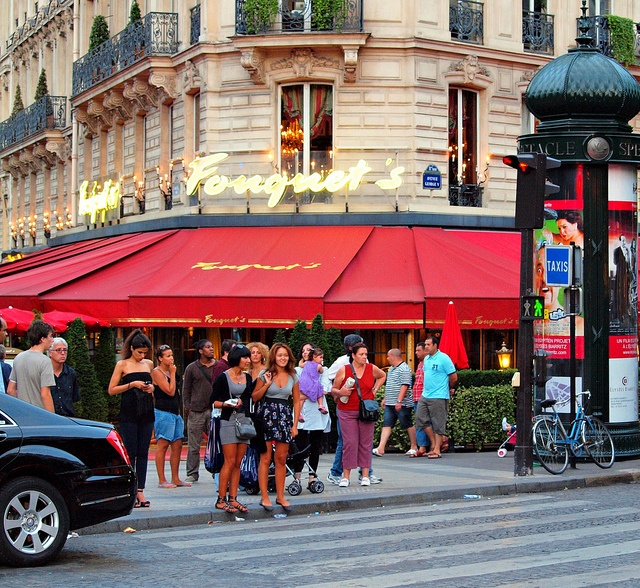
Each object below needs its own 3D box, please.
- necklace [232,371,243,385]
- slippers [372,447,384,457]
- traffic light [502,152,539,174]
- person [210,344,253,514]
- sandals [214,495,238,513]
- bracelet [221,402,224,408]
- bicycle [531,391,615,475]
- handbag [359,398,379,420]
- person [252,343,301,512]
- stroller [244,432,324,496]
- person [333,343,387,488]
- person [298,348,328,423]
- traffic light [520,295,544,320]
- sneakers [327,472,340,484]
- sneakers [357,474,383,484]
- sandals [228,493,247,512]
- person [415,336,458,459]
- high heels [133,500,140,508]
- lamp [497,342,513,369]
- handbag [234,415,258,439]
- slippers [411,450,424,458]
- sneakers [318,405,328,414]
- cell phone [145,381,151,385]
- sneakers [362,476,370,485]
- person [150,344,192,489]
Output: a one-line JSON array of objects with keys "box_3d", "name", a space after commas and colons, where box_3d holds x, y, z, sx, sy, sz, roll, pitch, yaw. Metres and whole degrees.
[{"box_3d": [-1.059, 1.102, 19.587, 0.091, 0.139, 0.031, 8, -23, -11], "name": "necklace"}, {"box_3d": [0.957, 2.631, 25.178, 0.105, 0.122, 0.278, -1, 8, -22], "name": "slippers"}, {"box_3d": [2.974, -1.927, 22.684, 0.475, 0.303, 0.561, -2, -3, 1], "name": "traffic light"}, {"box_3d": [-1.114, 1.755, 19.559, 0.513, 2.152, 0.633, 0, -3, -20], "name": "person"}, {"box_3d": [-1.198, 2.739, 19.669, 0.121, 0.160, 0.334, -8, 5, -40], "name": "sandals"}, {"box_3d": [-1.235, 1.425, 19.385, 0.018, 0.057, 0.037, 6, -4, -11], "name": "bracelet"}, {"box_3d": [3.866, 2.134, 23.289, 1.713, 1.169, 0.706, 1, -21, -36], "name": "bicycle"}, {"box_3d": [0.678, 1.641, 21.457, 0.136, 0.318, 0.280, -3, -3, 45], "name": "handbag"}, {"box_3d": [-0.559, 1.779, 20.110, 0.504, 2.231, 0.874, -2, -3, 11], "name": "person"}, {"box_3d": [-0.509, 2.410, 21.262, 0.531, 0.693, 0.420, 9, -5, -11], "name": "stroller"}, {"box_3d": [0.503, 1.737, 21.796, 0.624, 2.064, 0.834, -1, -3, 1], "name": "person"}, {"box_3d": [-0.109, 1.237, 21.296, 0.339, 0.903, 0.463, -1, -3, 2], "name": "person"}, {"box_3d": [3.118, 0.221, 22.436, 0.348, 0.377, 0.257, -1, -3, -2], "name": "traffic light"}, {"box_3d": [0.212, 2.683, 21.965, 0.082, 0.108, 0.228, 3, 6, -33], "name": "sneakers"}, {"box_3d": [0.739, 2.686, 21.973, 0.353, 0.173, 0.136, 2, -1, -18], "name": "sneakers"}, {"box_3d": [-1.091, 2.733, 19.709, 0.306, 0.146, 0.122, 15, 10, 40], "name": "sandals"}, {"box_3d": [1.882, 1.707, 24.869, 0.669, 1.967, 0.445, -2, -3, 15], "name": "person"}, {"box_3d": [-2.396, 2.774, 19.985, 0.062, 0.080, 0.196, 1, 5, -6], "name": "high heels"}, {"box_3d": [3.824, 1.257, 31.485, 0.254, 0.574, 0.420, -3, -4, 33], "name": "lamp"}, {"box_3d": [-0.950, 1.708, 19.373, 0.111, 0.286, 0.262, -20, -18, 34], "name": "handbag"}, {"box_3d": [1.608, 2.648, 25.116, 0.260, 0.113, 0.088, 8, -9, -41], "name": "slippers"}, {"box_3d": [0.047, 1.663, 21.479, 0.065, 0.069, 0.152, -17, -37, 13], "name": "sneakers"}, {"box_3d": [-2.259, 1.192, 20.187, 0.076, 0.044, 0.136, -5, -4, 39], "name": "cell phone"}, {"box_3d": [0.651, 2.667, 21.638, 0.084, 0.107, 0.233, 0, -8, 3], "name": "sneakers"}, {"box_3d": [-2.102, 1.754, 21.598, 0.502, 2.020, 0.980, -1, -3, -5], "name": "person"}]
